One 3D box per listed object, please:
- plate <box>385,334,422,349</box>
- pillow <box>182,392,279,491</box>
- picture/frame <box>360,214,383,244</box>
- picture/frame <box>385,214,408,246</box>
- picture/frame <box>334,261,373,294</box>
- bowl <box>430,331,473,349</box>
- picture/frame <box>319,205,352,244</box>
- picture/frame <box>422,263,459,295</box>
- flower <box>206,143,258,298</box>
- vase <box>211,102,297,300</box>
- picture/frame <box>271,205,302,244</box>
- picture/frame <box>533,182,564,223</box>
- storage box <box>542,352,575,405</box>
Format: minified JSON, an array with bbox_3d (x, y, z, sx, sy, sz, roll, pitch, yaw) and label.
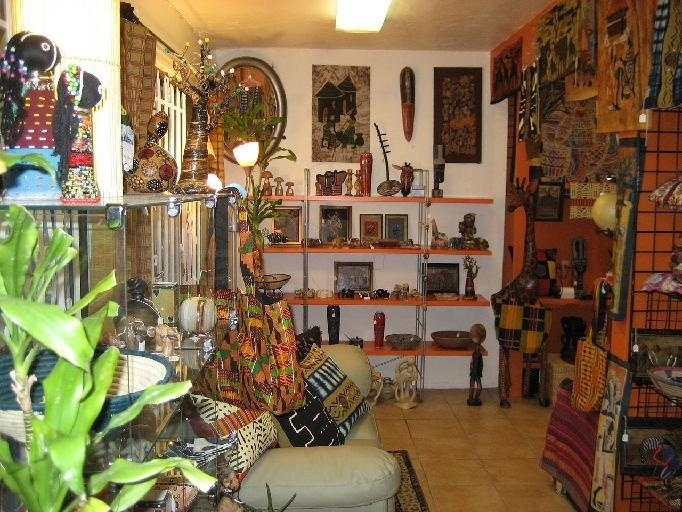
[{"bbox_3d":[0.571,0.781,4.989,0.317,0.099,0.326,1,7,5],"label":"plate"},{"bbox_3d":[-0.399,0.642,1.996,0.091,0.311,0.298,-36,-18,13],"label":"pillow"},{"bbox_3d":[0.285,-0.263,5.103,0.276,0.400,0.015,-1,7,2],"label":"picture/frame"},{"bbox_3d":[0.514,-0.253,5.099,0.286,0.419,0.032,0,2,0],"label":"picture/frame"},{"bbox_3d":[0.108,0.196,5.125,0.278,0.248,0.027,0,-1,-5],"label":"picture/frame"},{"bbox_3d":[1.024,0.757,4.995,0.361,0.130,0.417,2,7,13],"label":"bowl"},{"bbox_3d":[-0.055,-0.313,5.109,0.352,0.439,0.030,1,0,-4],"label":"picture/frame"},{"bbox_3d":[0.945,0.215,5.113,0.279,0.257,0.029,1,-1,-2],"label":"picture/frame"},{"bbox_3d":[-0.462,-0.206,2.457,0.152,0.547,0.107,11,-5,-35],"label":"flower"},{"bbox_3d":[-0.680,-0.410,4.611,0.498,1.651,0.569,7,17,40],"label":"vase"},{"bbox_3d":[-0.512,-0.287,5.004,0.340,0.435,0.029,1,0,-7],"label":"picture/frame"},{"bbox_3d":[1.874,-0.507,4.903,0.358,0.521,0.040,1,4,1],"label":"picture/frame"},{"bbox_3d":[1.953,1.146,4.841,0.198,0.363,0.386,2,-16,30],"label":"storage box"}]
